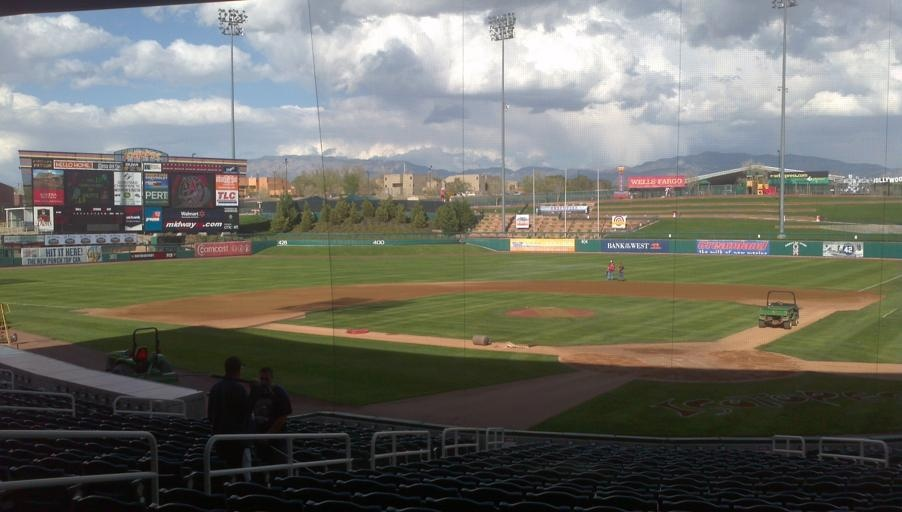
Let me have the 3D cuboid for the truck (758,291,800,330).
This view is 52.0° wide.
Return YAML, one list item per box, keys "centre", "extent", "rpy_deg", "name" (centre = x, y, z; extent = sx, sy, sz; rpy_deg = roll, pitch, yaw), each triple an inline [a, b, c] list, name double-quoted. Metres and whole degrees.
- centre: [18.770, 3.110, 53.363]
  extent: [2.216, 1.591, 3.680]
  rpy_deg: [3, 11, 30]
  name: "truck"
